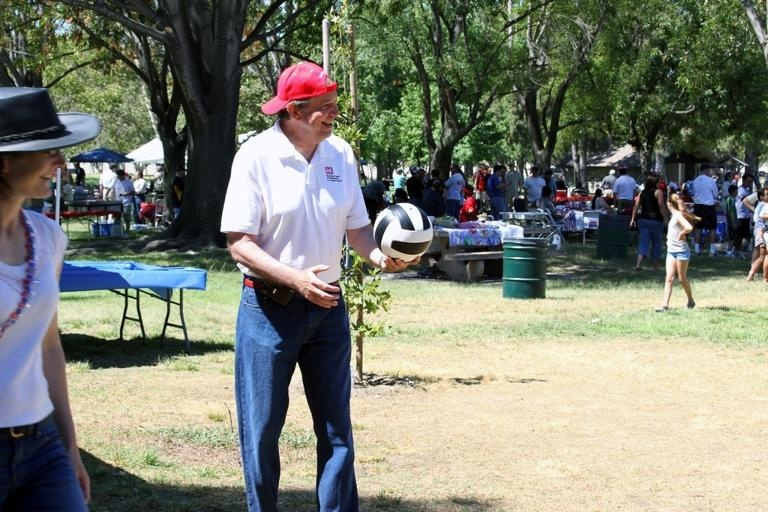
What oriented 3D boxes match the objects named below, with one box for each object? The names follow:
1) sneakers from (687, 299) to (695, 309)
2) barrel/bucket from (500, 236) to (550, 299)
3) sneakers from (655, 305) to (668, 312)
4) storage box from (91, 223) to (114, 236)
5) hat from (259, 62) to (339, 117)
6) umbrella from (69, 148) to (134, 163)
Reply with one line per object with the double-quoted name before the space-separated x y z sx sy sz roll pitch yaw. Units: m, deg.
"sneakers" 5.768 0.914 17.784 0.091 0.090 0.241 2 -29 4
"barrel/bucket" 2.840 0.243 19.166 0.874 1.230 0.396 3 9 5
"sneakers" 5.158 0.984 17.561 0.261 0.106 0.094 1 -1 -32
"storage box" -8.796 -0.833 29.584 0.605 0.382 0.592 0 -2 -15
"hat" -0.721 -1.367 7.893 0.578 0.310 0.379 -15 19 11
"umbrella" -10.429 -3.744 35.774 1.690 0.585 1.707 0 1 15
